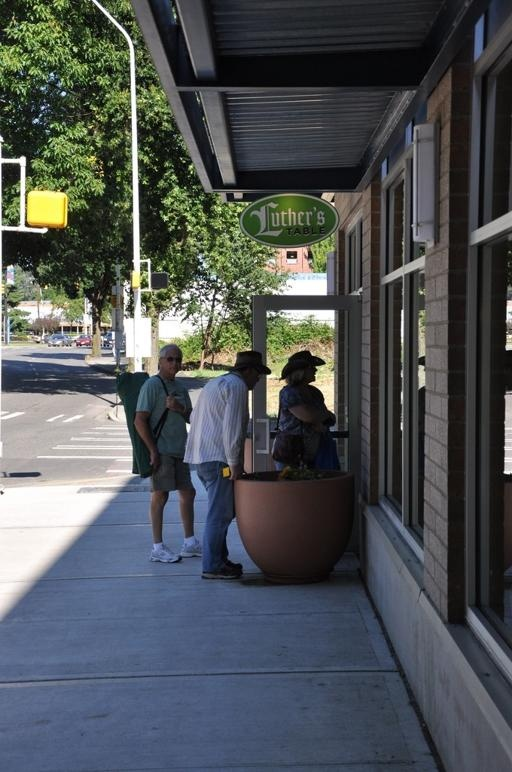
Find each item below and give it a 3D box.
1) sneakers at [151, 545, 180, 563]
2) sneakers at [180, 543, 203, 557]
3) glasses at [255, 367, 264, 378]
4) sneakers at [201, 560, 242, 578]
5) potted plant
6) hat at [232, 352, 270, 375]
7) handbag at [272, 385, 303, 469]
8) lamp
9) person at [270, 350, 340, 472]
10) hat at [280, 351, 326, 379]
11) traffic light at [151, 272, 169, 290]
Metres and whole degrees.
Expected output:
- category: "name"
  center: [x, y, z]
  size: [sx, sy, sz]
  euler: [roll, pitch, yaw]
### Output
- category: "sneakers"
  center: [-0.772, 1.406, 6.130]
  size: [0.267, 0.135, 0.114]
  euler: [1, 2, 12]
- category: "sneakers"
  center: [-0.555, 1.419, 6.360]
  size: [0.085, 0.104, 0.222]
  euler: [1, 5, 18]
- category: "glasses"
  center: [0.025, -0.109, 5.686]
  size: [0.057, 0.106, 0.078]
  euler: [-4, 11, -19]
- category: "sneakers"
  center: [-0.273, 1.394, 5.543]
  size: [0.283, 0.141, 0.124]
  euler: [-4, 3, -4]
- category: "potted plant"
  center: [0.245, 0.994, 5.374]
  size: [0.801, 0.631, 0.809]
  euler: [-2, 0, -7]
- category: "hat"
  center: [-0.059, -0.179, 5.600]
  size: [0.209, 0.113, 0.183]
  euler: [-4, -2, 25]
- category: "handbag"
  center: [0.245, 0.364, 5.942]
  size: [0.272, 0.679, 0.276]
  euler: [0, -8, -17]
- category: "lamp"
  center: [0.704, -0.852, 3.085]
  size: [0.083, 0.489, 0.160]
  euler: [0, 0, -17]
- category: "person"
  center: [0.402, 0.388, 5.900]
  size: [0.506, 1.327, 0.462]
  euler: [0, 10, 8]
- category: "hat"
  center: [0.353, -0.140, 5.716]
  size: [0.258, 0.106, 0.218]
  euler: [-27, -5, 11]
- category: "traffic light"
  center: [-2.497, -2.707, 18.799]
  size: [0.445, 0.447, 0.451]
  euler: [-1, -1, -3]
